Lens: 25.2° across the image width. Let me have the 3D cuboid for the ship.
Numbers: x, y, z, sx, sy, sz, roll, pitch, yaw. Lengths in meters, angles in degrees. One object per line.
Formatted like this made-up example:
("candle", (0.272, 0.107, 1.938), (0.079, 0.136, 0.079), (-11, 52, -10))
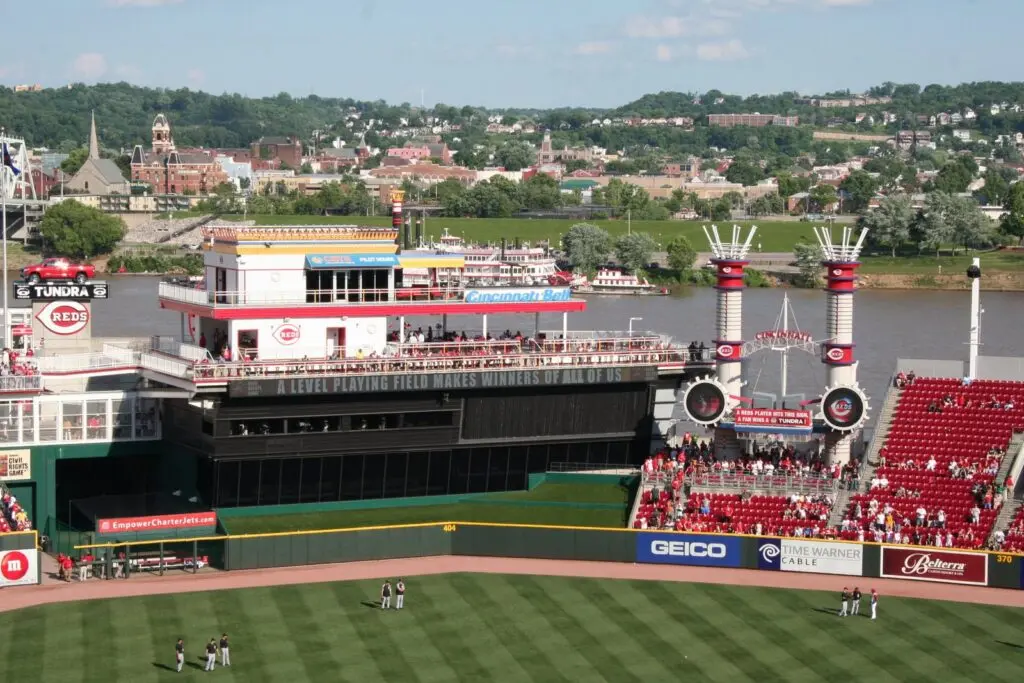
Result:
("ship", (2.652, -9.507, 269.926), (18.908, 4.461, 11.218), (1, 2, -2))

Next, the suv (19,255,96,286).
("suv", (-35.553, -5.535, 179.391), (5.818, 1.593, 2.469), (1, 4, -4))

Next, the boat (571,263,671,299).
("boat", (13.488, -7.437, 289.058), (11.477, 2.916, 15.028), (0, 3, -7))

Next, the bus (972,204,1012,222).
("bus", (69.726, -18.378, 331.074), (3.503, 2.378, 56.641), (1, 3, 12))
